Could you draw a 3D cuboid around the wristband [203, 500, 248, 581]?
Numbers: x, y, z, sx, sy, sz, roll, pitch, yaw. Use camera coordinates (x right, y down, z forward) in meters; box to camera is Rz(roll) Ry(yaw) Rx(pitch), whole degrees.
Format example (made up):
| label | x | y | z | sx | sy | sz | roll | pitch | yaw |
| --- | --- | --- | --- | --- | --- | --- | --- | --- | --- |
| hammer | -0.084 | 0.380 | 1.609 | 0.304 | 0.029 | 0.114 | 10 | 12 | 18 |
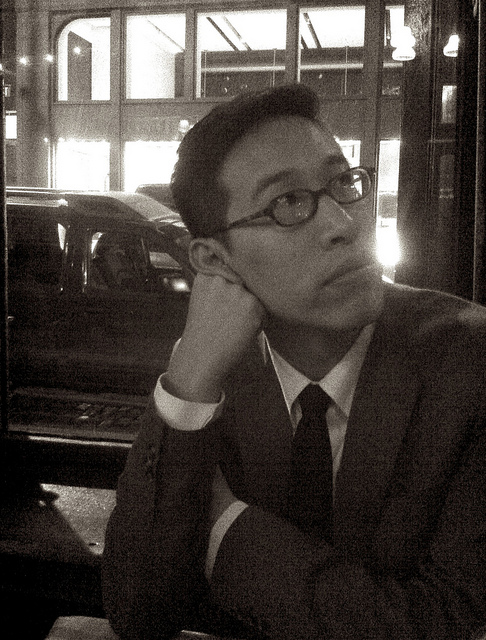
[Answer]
| label | x | y | z | sx | sy | sz | roll | pitch | yaw |
| --- | --- | --- | --- | --- | --- | --- | --- | --- | --- |
| wristband | -0.031 | 0.312 | 1.229 | 0.018 | 0.089 | 0.090 | 15 | -38 | -6 |
